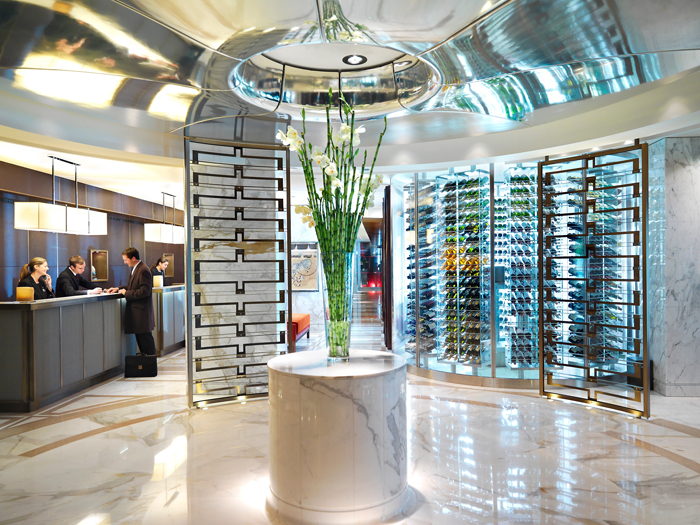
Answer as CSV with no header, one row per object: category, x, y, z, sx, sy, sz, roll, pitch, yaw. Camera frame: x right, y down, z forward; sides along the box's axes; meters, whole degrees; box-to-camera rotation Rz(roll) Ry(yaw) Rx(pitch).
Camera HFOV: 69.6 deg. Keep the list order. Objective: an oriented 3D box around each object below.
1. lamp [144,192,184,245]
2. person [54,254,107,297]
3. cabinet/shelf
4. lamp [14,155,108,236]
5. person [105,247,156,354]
lamp,-3.792,-0.922,10.219,0.669,1.117,1.175,0,0,2
person,-4.279,0.194,7.846,0.507,0.573,1.697,-4,6,-30
cabinet/shelf,1.853,0.146,7.940,3.076,3.581,2.722,1,0,5
lamp,-4.261,-1.003,7.361,0.375,0.868,1.027,-5,-4,16
person,-3.221,0.618,7.507,0.569,1.646,0.668,-3,6,-22
